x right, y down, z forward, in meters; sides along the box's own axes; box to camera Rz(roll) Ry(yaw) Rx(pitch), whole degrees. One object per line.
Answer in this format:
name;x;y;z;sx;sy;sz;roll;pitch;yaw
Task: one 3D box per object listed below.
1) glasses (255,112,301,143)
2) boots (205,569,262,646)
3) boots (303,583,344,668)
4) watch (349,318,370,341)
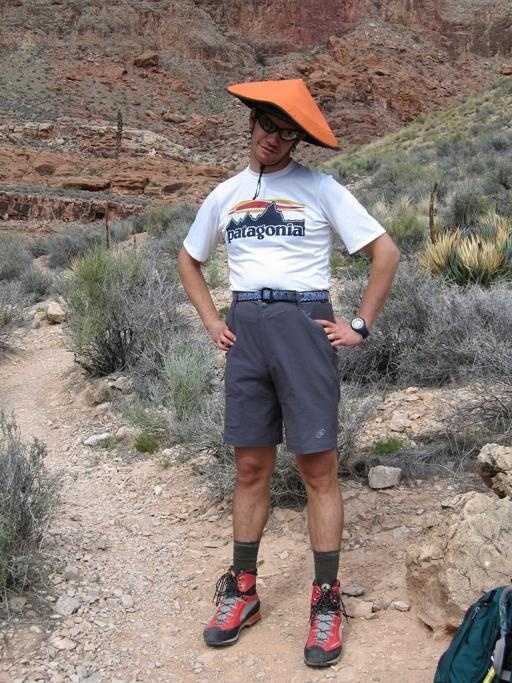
glasses;0.078;-0.770;2.096;0.146;0.080;0.092;-8;3;-2
boots;-0.094;1.017;2.278;0.127;0.239;0.365;-6;-4;28
boots;0.239;0.994;2.028;0.109;0.169;0.288;-2;-4;8
watch;0.376;-0.046;2.147;0.052;0.080;0.078;-39;-20;-10
